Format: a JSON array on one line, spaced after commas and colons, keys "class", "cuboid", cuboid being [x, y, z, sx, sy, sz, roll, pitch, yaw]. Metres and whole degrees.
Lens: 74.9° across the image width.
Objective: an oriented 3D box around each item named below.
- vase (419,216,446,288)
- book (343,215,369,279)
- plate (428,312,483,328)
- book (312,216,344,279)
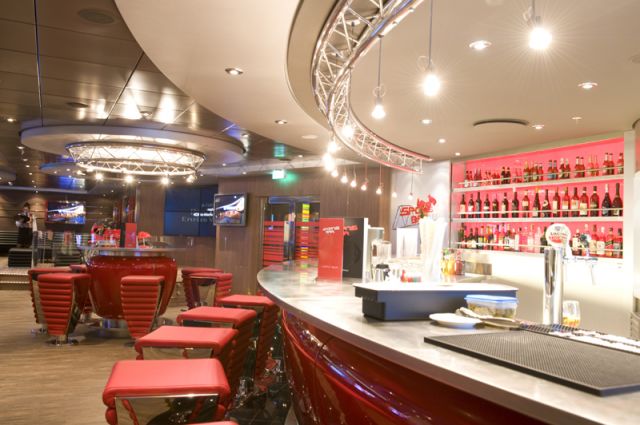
[{"class": "vase", "cuboid": [0.755, 0.241, 2.748, 0.169, 0.433, 0.412, -2, 1, 14]}, {"class": "book", "cuboid": [0.317, 0.334, 3.886, 0.073, 0.550, 0.421, 5, -8, -30]}, {"class": "plate", "cuboid": [0.681, 0.540, 2.111, 0.250, 0.044, 0.209, -1, 1, 34]}, {"class": "book", "cuboid": [0.091, 0.325, 3.830, 0.269, 0.422, 0.199, -2, 1, 16]}]
